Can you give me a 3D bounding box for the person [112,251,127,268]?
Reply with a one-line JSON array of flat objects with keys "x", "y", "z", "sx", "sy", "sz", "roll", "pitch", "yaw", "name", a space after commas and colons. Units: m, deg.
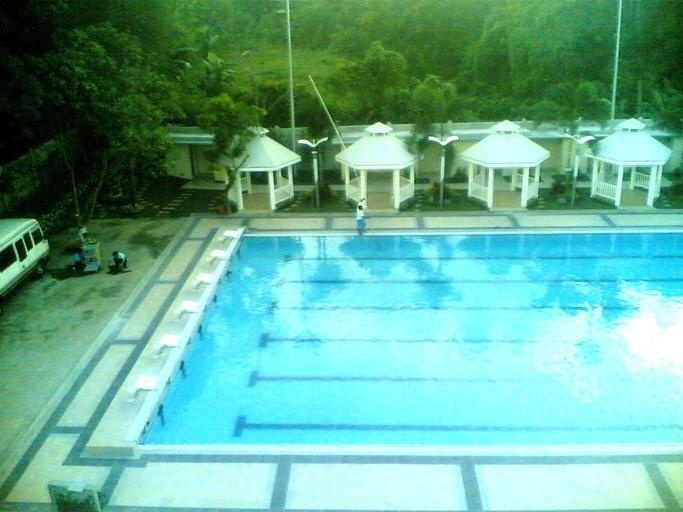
[{"x": -11.065, "y": 0.245, "z": 30.909, "sx": 0.641, "sy": 0.771, "sz": 0.935, "roll": -2, "pitch": 10, "yaw": -16, "name": "person"}]
